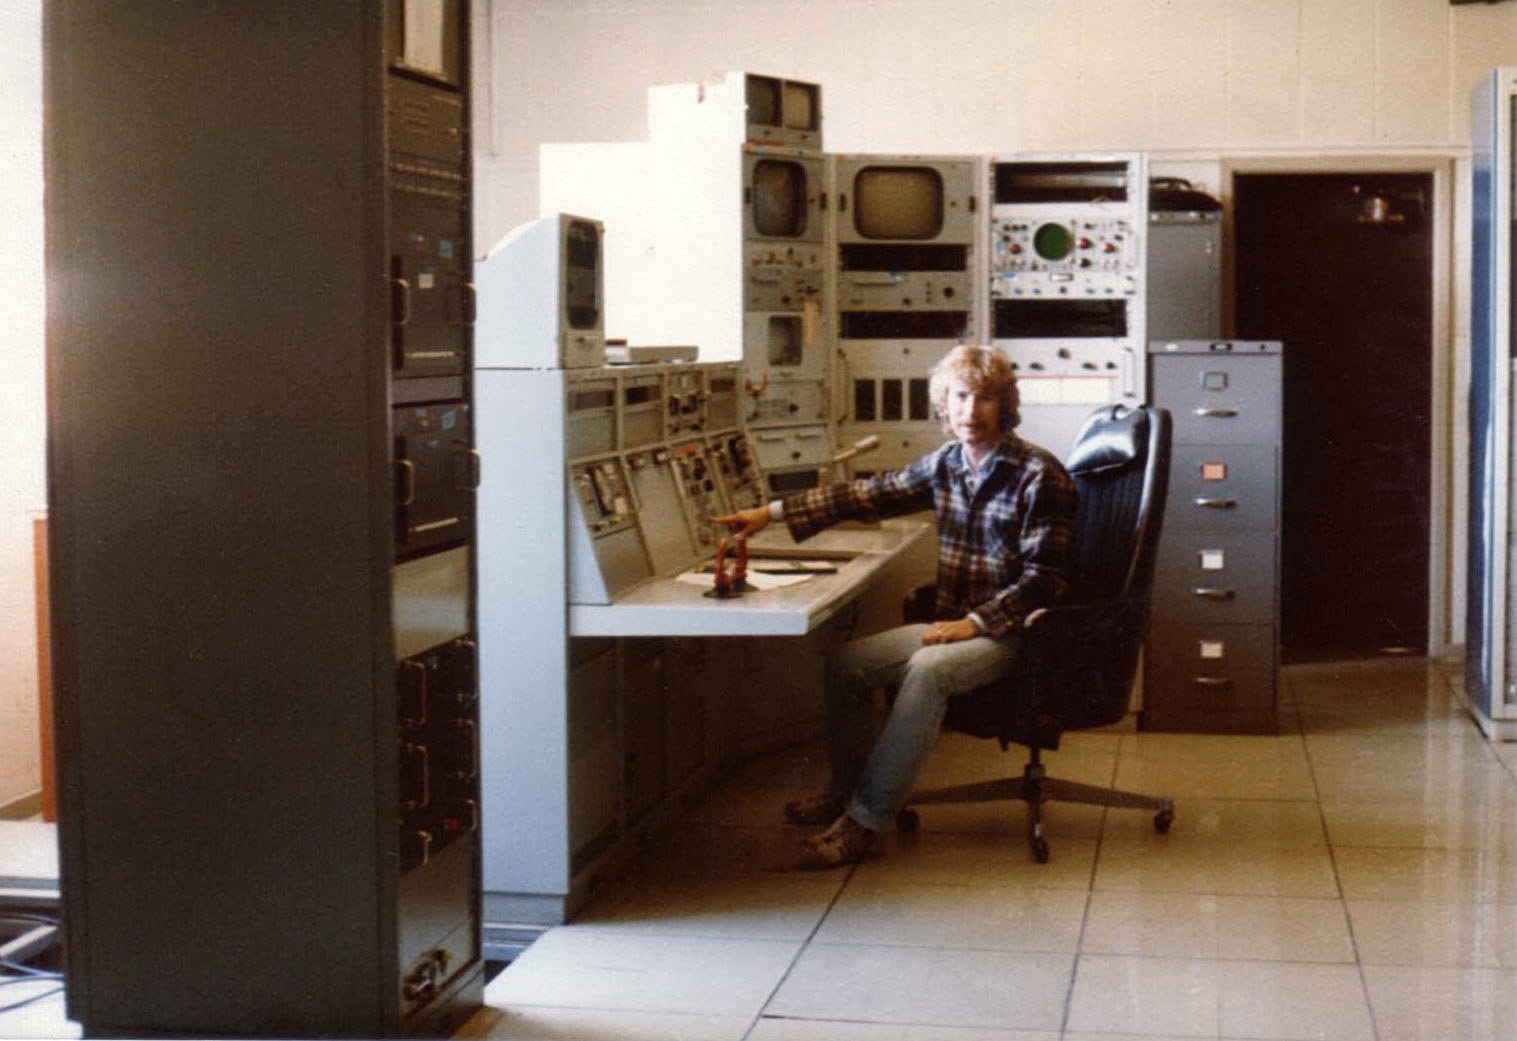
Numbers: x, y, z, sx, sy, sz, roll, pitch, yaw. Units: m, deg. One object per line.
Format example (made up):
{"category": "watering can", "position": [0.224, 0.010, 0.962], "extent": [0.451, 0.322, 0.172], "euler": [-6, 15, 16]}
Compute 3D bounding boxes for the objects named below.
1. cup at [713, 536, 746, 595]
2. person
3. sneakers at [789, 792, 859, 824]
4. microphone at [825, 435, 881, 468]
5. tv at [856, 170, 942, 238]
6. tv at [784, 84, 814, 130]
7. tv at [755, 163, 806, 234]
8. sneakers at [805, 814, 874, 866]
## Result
{"category": "cup", "position": [-0.091, 0.136, 3.893], "extent": [0.117, 0.188, 0.087], "euler": [-2, -29, 6]}
{"category": "person", "position": [0.519, 0.263, 4.265], "extent": [0.977, 1.622, 0.717], "euler": [1, 8, 12]}
{"category": "sneakers", "position": [0.201, 1.016, 4.606], "extent": [0.111, 0.057, 0.178], "euler": [-10, -5, 11]}
{"category": "microphone", "position": [0.370, -0.277, 5.264], "extent": [0.269, 0.090, 0.058], "euler": [-28, 7, -36]}
{"category": "tv", "position": [0.576, -1.358, 5.567], "extent": [0.303, 0.221, 0.096], "euler": [-1, 7, -2]}
{"category": "tv", "position": [0.151, -1.689, 5.315], "extent": [0.029, 0.191, 0.185], "euler": [7, 15, 44]}
{"category": "tv", "position": [0.085, -1.305, 5.327], "extent": [0.307, 0.332, 0.036], "euler": [10, 21, 29]}
{"category": "sneakers", "position": [0.264, 1.005, 4.204], "extent": [0.232, 0.177, 0.277], "euler": [0, 8, 2]}
